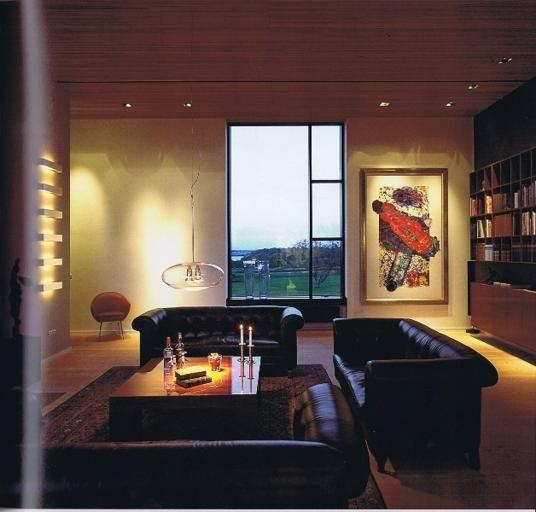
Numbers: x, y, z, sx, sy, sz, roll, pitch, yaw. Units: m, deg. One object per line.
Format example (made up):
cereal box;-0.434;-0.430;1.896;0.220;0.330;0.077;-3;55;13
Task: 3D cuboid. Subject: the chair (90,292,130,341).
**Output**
chair;-2.084;0.679;6.722;0.521;0.696;0.562;1;-8;-19

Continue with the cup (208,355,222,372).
cup;-0.428;0.864;4.169;0.106;0.127;0.112;-1;-2;0
